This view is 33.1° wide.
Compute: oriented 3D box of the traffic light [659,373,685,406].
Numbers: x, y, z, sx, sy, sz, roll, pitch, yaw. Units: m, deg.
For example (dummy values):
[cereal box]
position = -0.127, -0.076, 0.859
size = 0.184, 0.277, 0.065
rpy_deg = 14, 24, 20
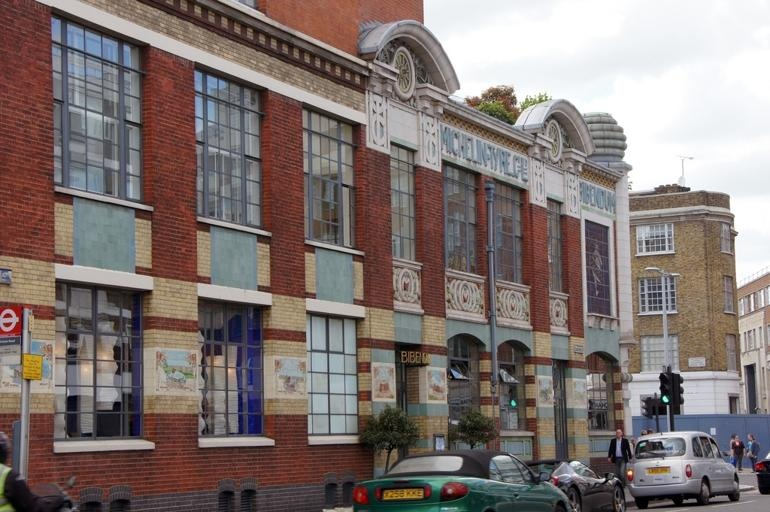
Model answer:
[traffic light]
position = 9.870, 4.520, 44.763
size = 0.741, 1.181, 0.790
rpy_deg = -3, -14, 11

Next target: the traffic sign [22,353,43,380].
[traffic sign]
position = -7.291, 2.260, 26.633
size = 0.064, 0.601, 0.551
rpy_deg = -11, -14, 40

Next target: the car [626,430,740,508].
[car]
position = 8.944, 6.299, 38.599
size = 3.196, 2.184, 1.565
rpy_deg = 9, -17, -34
